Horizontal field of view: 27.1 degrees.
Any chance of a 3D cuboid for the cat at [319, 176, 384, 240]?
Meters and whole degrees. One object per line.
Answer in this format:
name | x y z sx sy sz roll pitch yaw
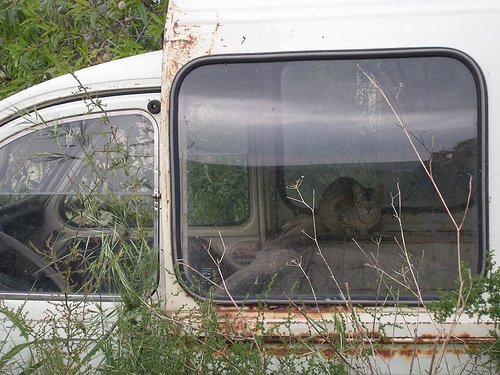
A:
cat | 0.518 0.071 5.749 0.265 0.294 0.380 -10 30 -22
